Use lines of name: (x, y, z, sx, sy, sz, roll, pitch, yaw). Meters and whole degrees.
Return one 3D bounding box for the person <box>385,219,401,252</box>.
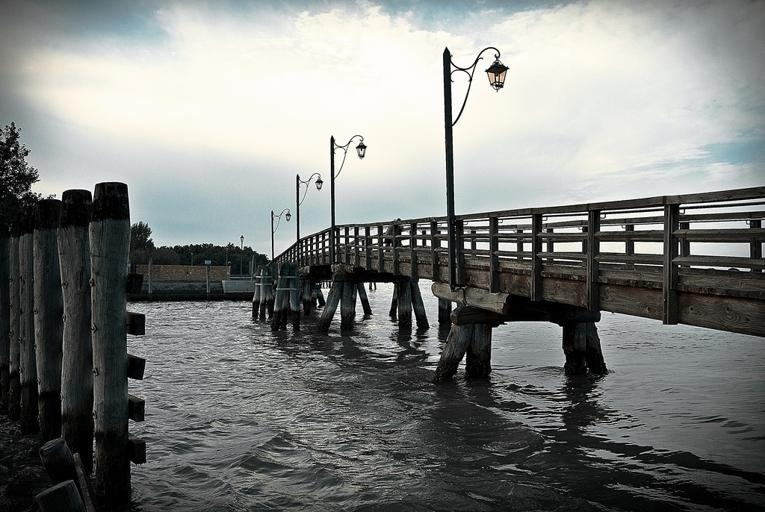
person: (0.385, -0.685, 20.171, 0.513, 0.956, 1.770, -1, 1, -6)
